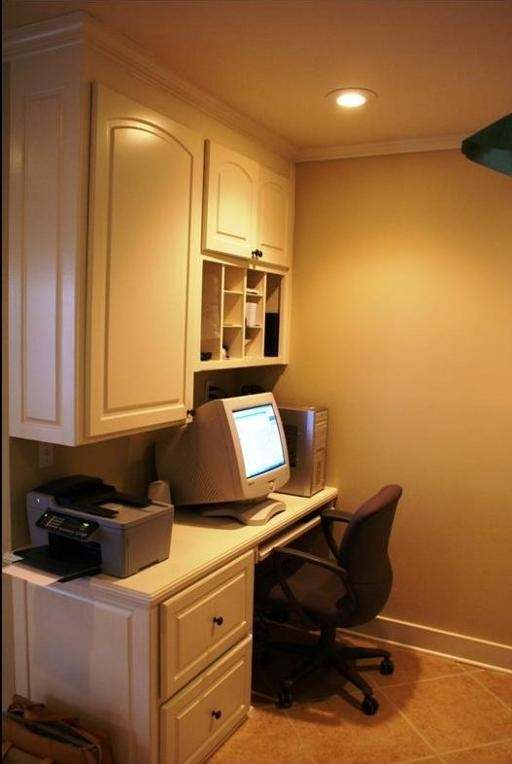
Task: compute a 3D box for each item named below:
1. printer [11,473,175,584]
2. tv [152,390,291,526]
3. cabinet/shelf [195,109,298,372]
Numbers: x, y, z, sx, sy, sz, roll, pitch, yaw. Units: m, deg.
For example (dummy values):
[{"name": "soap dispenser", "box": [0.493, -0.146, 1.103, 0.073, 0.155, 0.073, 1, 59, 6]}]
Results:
[{"name": "printer", "box": [-0.521, 0.445, 1.935, 0.384, 0.223, 0.389, 7, 8, 30]}, {"name": "tv", "box": [-0.119, 0.268, 2.685, 0.472, 0.483, 0.499, 2, 4, 23]}, {"name": "cabinet/shelf", "box": [-0.050, -0.634, 2.722, 0.342, 1.106, 0.933, 2, 8, 21]}]
